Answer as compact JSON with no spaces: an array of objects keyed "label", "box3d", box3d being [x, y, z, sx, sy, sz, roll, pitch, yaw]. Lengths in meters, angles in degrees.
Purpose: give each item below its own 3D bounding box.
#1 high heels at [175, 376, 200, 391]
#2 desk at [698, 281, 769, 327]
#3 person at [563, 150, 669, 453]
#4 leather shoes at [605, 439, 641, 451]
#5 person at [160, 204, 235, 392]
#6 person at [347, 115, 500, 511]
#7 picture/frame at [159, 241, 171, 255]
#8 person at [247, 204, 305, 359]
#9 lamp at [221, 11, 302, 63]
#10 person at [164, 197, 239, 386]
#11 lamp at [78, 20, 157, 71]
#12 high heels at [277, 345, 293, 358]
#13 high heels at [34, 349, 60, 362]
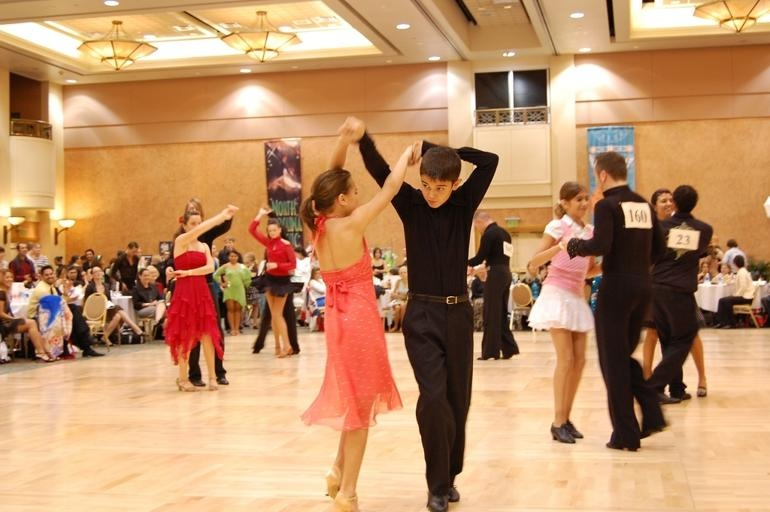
[{"label":"high heels","box3d":[-2.254,1.459,6.867,0.376,0.151,0.126,-6,-3,36]},{"label":"desk","box3d":[6.833,0.832,11.807,1.297,0.636,1.223,0,-7,1]},{"label":"person","box3d":[1.718,0.323,4.403,0.799,2.215,0.313,-1,1,-23]},{"label":"leather shoes","box3d":[1.760,1.400,4.421,0.149,0.051,0.103,-2,-1,9]},{"label":"person","box3d":[-2.079,0.465,6.699,0.697,2.127,0.954,-1,1,-19]},{"label":"person","box3d":[0.333,0.404,3.510,0.493,2.148,0.372,-2,2,-40]},{"label":"picture/frame","box3d":[-6.183,-0.261,16.862,0.487,0.396,0.065,-2,5,11]},{"label":"person","box3d":[-1.672,0.349,8.984,0.735,2.309,0.674,2,6,9]},{"label":"lamp","box3d":[-3.076,-5.360,14.896,1.918,1.194,1.828,-7,7,-26]},{"label":"person","box3d":[-2.072,0.403,6.781,0.804,1.940,0.624,1,-8,-20]},{"label":"lamp","box3d":[-6.500,-5.063,14.665,1.621,0.936,1.601,1,1,23]},{"label":"high heels","box3d":[-1.549,1.485,9.211,0.101,0.137,0.295,-14,-25,24]},{"label":"high heels","box3d":[-5.311,1.569,9.410,0.323,0.130,0.155,-1,-3,5]}]
